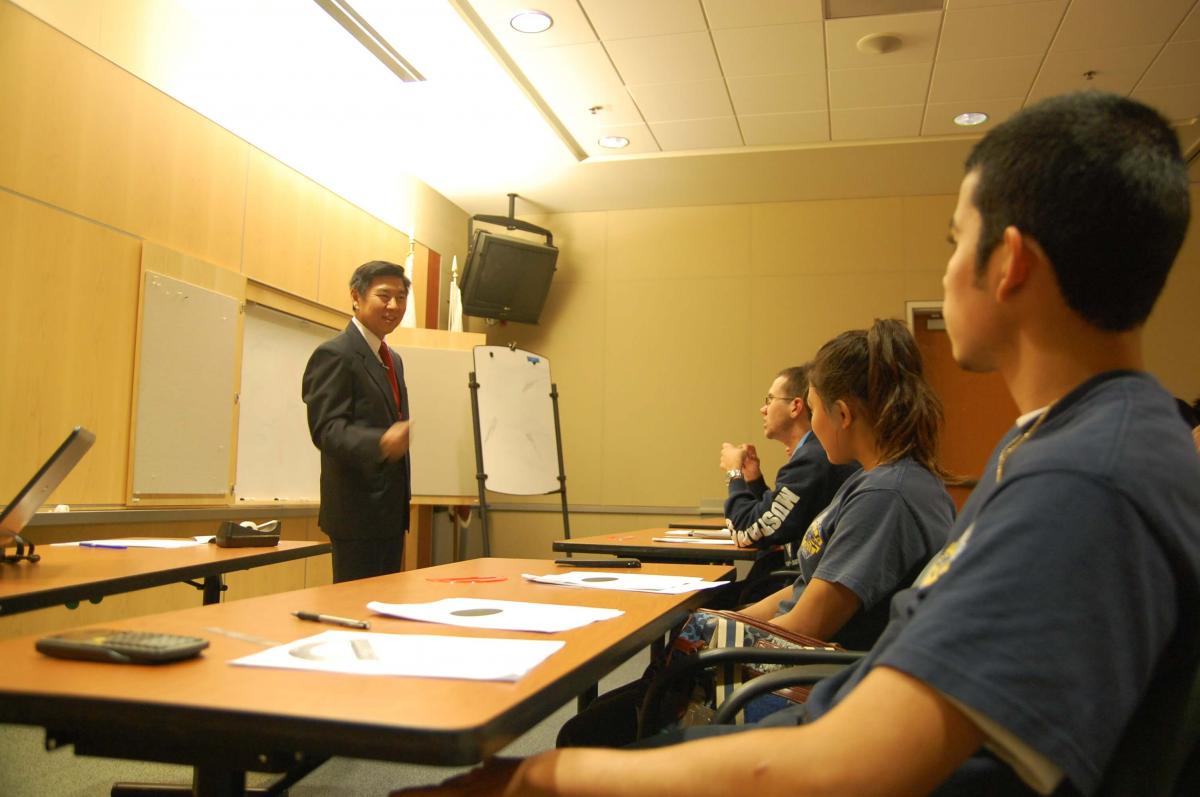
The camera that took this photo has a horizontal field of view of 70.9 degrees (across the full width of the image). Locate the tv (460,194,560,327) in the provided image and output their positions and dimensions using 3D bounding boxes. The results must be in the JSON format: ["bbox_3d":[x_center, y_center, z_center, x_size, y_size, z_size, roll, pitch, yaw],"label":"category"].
[{"bbox_3d":[-0.712,-1.094,6.699,0.833,1.001,0.547,10,9,-42],"label":"tv"}]

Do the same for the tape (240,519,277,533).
[{"bbox_3d":[-1.134,0.433,2.837,0.096,0.042,0.182,0,-2,-9],"label":"tape"}]

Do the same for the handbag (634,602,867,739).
[{"bbox_3d":[0.282,0.534,1.819,0.437,0.251,0.430,2,0,-1],"label":"handbag"}]

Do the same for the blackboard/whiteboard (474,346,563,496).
[{"bbox_3d":[-0.523,0.159,5.251,0.074,0.959,0.865,-20,-22,36],"label":"blackboard/whiteboard"}]

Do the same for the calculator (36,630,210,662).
[{"bbox_3d":[-0.706,0.368,1.261,0.162,0.037,0.092,5,-1,7],"label":"calculator"}]

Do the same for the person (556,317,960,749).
[{"bbox_3d":[0.433,0.295,2.427,1.080,1.341,0.729,0,-13,27],"label":"person"}]
